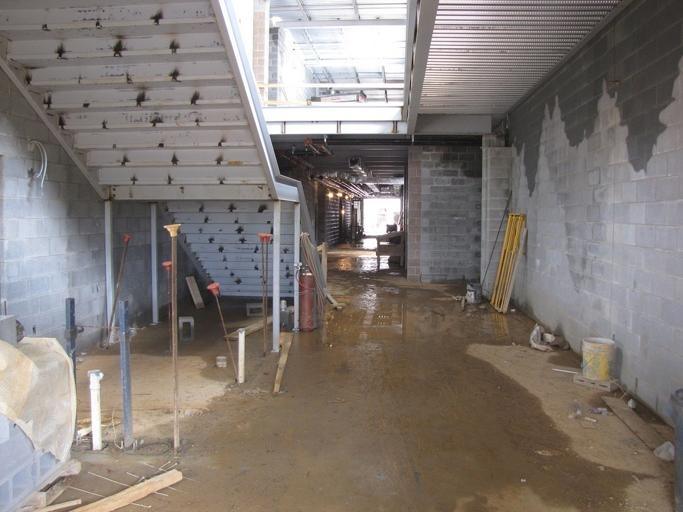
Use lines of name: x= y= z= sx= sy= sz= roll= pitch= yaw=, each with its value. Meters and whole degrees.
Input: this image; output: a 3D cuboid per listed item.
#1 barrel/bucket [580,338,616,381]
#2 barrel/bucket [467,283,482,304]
barrel/bucket: x=3.339 y=1.354 z=6.313 sx=0.417 sy=0.444 sz=0.443 roll=-3 pitch=2 yaw=0
barrel/bucket: x=2.979 y=0.857 z=11.301 sx=0.404 sy=0.564 sz=0.436 roll=-3 pitch=4 yaw=0
